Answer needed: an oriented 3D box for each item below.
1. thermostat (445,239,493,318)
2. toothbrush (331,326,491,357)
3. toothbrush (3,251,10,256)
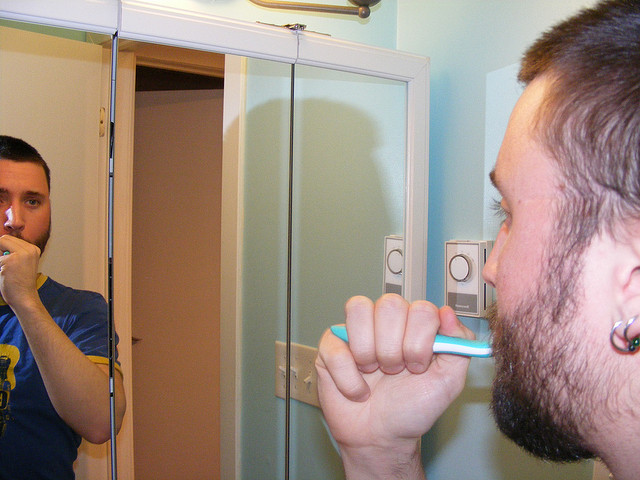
[{"bbox_3d":[0.347,0.089,1.362,0.057,0.181,0.108,-2,3,-38],"label":"thermostat"},{"bbox_3d":[0.152,0.174,1.006,0.279,0.035,0.092,2,3,16],"label":"toothbrush"},{"bbox_3d":[-0.581,0.025,1.073,0.008,0.006,0.001,0,3,-23],"label":"toothbrush"}]
